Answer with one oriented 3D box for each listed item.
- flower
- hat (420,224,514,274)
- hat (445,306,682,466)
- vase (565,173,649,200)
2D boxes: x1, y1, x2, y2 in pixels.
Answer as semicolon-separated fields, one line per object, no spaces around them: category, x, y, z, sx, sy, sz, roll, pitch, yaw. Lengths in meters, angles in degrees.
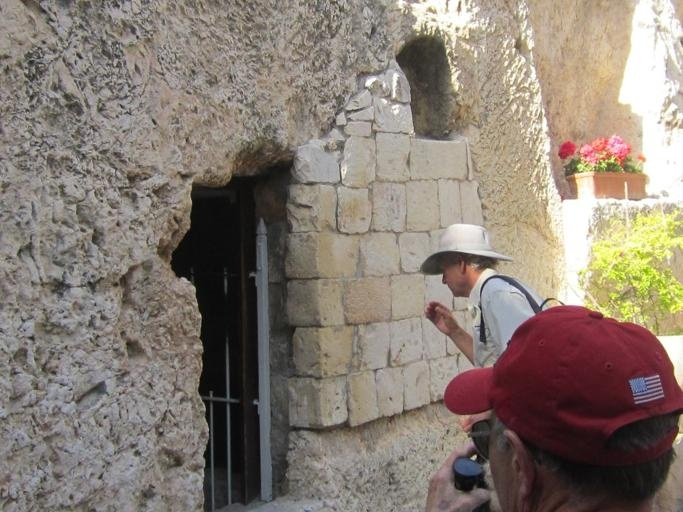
flower;2.217;-0.901;7.427;0.690;0.412;0.644;-6;2;-26
hat;0.627;-0.049;4.513;0.436;0.251;0.558;-1;-13;-5
hat;0.704;0.347;2.630;0.557;0.375;0.403;18;22;36
vase;2.269;-0.599;7.265;0.488;0.188;0.324;3;-6;-24
